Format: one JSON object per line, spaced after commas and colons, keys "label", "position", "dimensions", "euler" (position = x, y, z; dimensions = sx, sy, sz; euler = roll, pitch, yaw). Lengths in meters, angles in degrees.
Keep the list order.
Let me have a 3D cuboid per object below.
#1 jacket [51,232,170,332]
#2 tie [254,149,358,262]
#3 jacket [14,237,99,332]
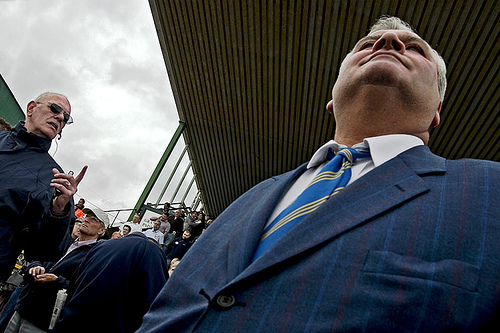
{"label": "jacket", "position": [-1.181, 0.971, 2.756], "dimensions": [0.794, 0.750, 0.466], "euler": [-18, -61, 47]}
{"label": "tie", "position": [0.337, 0.159, 1.508], "dimensions": [0.214, 0.735, 0.081], "euler": [32, -25, 43]}
{"label": "jacket", "position": [-1.793, 1.105, 3.081], "dimensions": [0.636, 0.782, 0.445], "euler": [-16, -50, 37]}
